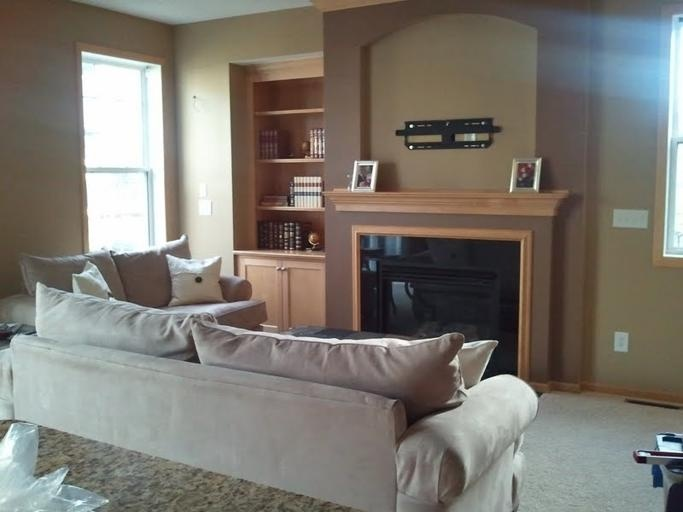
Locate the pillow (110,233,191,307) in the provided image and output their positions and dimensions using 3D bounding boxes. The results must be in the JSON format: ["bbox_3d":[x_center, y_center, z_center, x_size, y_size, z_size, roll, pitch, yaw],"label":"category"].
[{"bbox_3d":[-1.606,0.134,4.711,0.212,0.456,0.605,4,12,30],"label":"pillow"}]

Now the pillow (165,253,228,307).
[{"bbox_3d":[-1.247,0.216,4.827,0.467,0.433,0.176,-3,-4,-22],"label":"pillow"}]

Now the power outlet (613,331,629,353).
[{"bbox_3d":[2.025,0.620,4.076,0.106,0.122,0.015,7,5,28],"label":"power outlet"}]

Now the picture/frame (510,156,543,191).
[{"bbox_3d":[1.358,-0.598,4.116,0.251,0.300,0.041,8,-9,22],"label":"picture/frame"}]

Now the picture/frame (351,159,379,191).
[{"bbox_3d":[0.184,-0.670,4.629,0.282,0.331,0.046,4,-6,16],"label":"picture/frame"}]

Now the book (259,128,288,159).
[{"bbox_3d":[-0.687,-1.135,5.961,0.279,0.378,0.392,2,4,23],"label":"book"}]

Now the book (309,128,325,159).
[{"bbox_3d":[-0.255,-1.106,5.547,0.093,0.305,0.264,2,5,-34],"label":"book"}]
